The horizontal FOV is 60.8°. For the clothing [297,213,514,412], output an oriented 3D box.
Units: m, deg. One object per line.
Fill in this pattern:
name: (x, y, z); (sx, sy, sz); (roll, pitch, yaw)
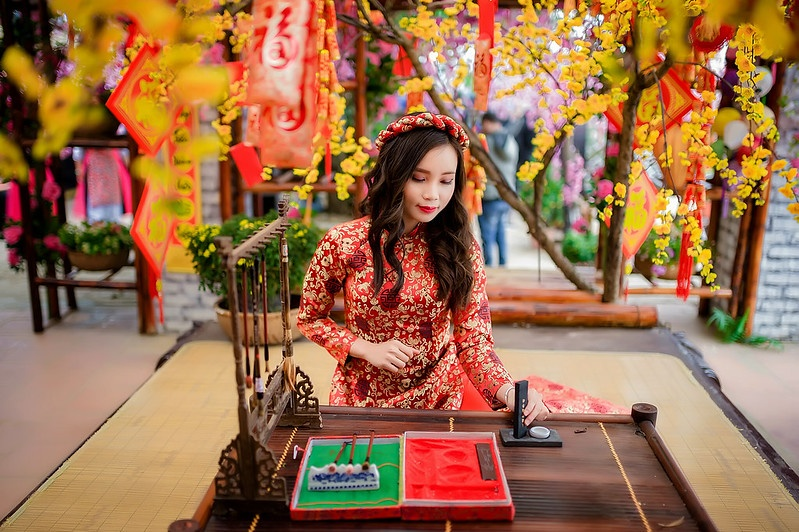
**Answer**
clothing: (-0.016, 0.176, 2.938); (0.695, 0.825, 0.817); (3, 3, -20)
